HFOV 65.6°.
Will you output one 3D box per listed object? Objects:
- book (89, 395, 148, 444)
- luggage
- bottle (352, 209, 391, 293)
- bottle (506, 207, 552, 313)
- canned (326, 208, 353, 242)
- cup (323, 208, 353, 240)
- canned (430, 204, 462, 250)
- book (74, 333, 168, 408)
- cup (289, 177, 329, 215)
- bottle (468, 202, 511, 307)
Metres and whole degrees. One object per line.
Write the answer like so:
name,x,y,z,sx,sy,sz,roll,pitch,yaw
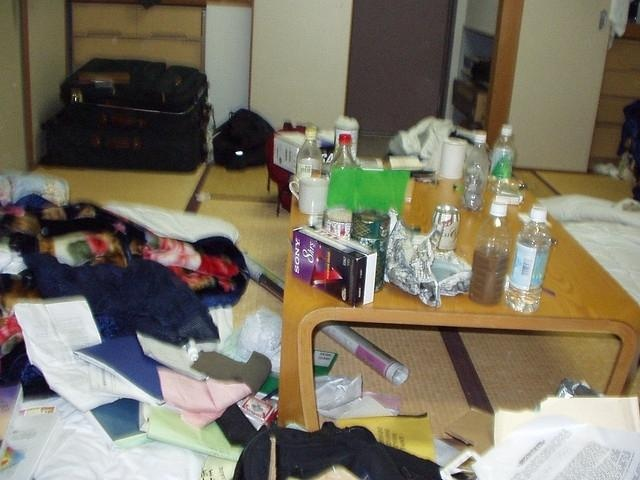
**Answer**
book,-0.536,0.481,1.329,0.098,0.026,0.110,-7,41,-38
luggage,-1.352,-0.818,3.415,0.823,0.456,0.857,4,25,0
bottle,0.129,0.031,1.359,0.100,0.199,0.127,10,23,21
bottle,0.575,0.032,1.350,0.095,0.265,0.220,12,24,25
canned,0.053,-0.047,1.553,0.083,0.099,0.086,2,14,-2
cup,0.058,-0.055,1.537,0.083,0.100,0.085,2,17,-1
canned,0.394,-0.035,1.560,0.085,0.143,0.092,-3,29,-4
book,-0.537,0.357,1.428,0.261,0.110,0.153,9,23,15
cup,-0.037,-0.158,1.732,0.127,0.115,0.109,-2,17,-4
bottle,0.482,0.013,1.379,0.097,0.263,0.231,9,22,18
